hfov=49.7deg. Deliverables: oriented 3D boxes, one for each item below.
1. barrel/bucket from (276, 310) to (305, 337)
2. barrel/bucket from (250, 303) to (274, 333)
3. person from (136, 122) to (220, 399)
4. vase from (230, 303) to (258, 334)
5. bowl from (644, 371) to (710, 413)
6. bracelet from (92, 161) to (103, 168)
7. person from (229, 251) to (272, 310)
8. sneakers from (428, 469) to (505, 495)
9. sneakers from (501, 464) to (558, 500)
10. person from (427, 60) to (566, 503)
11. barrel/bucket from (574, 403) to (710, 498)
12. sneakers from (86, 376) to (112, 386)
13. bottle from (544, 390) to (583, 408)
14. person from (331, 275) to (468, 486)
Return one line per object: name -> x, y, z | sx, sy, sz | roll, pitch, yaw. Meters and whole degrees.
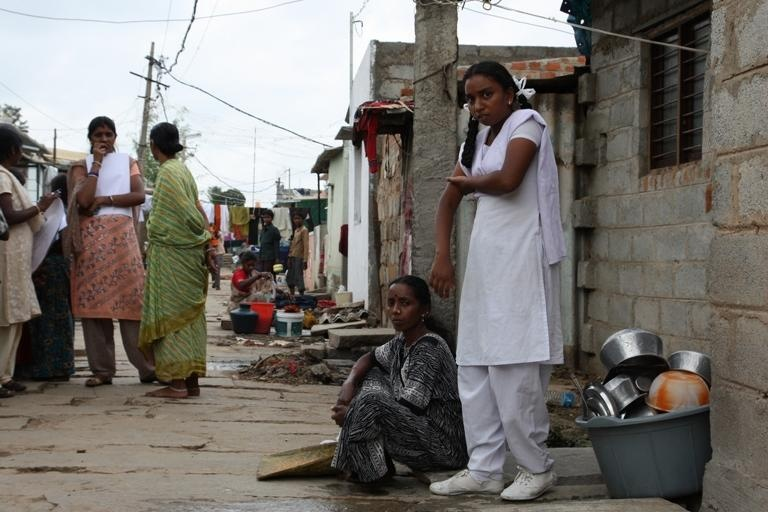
barrel/bucket -> -1.357, 0.958, 11.856 | 0.379, 0.375, 0.349 | 1, -4, 0
barrel/bucket -> -1.705, 0.894, 11.945 | 0.386, 0.380, 0.386 | 0, -10, 0
person -> -1.797, 0.038, 7.228 | 0.578, 2.377, 0.335 | 2, -4, -13
vase -> -1.987, 0.890, 11.748 | 0.443, 0.382, 0.393 | 2, -5, -17
bowl -> 1.855, 0.838, 5.196 | 0.387, 0.175, 0.398 | -1, 10, 0
bracelet -> -2.572, -0.819, 7.468 | 0.057, 0.029, 0.044 | -1, -39, 15
person -> -1.988, 0.377, 12.644 | 0.657, 0.917, 1.012 | 2, -4, -15
sneakers -> 0.515, 1.391, 5.203 | 0.440, 0.160, 0.170 | 2, -7, -1
sneakers -> 0.885, 1.382, 5.086 | 0.437, 0.156, 0.153 | -6, -1, -39
person -> 0.708, 0.136, 5.155 | 0.799, 2.700, 0.373 | 0, -4, 12
barrel/bucket -> 1.599, 1.124, 5.106 | 0.606, 0.389, 0.591 | -11, -4, -1
sneakers -> -2.573, 1.133, 7.494 | 0.089, 0.053, 0.200 | -5, -12, 27
bottle -> 1.588, 1.276, 7.374 | 0.204, 0.074, 0.160 | -1, 9, -8
person -> 0.103, 0.819, 5.632 | 0.935, 1.274, 0.780 | 3, 0, -24
